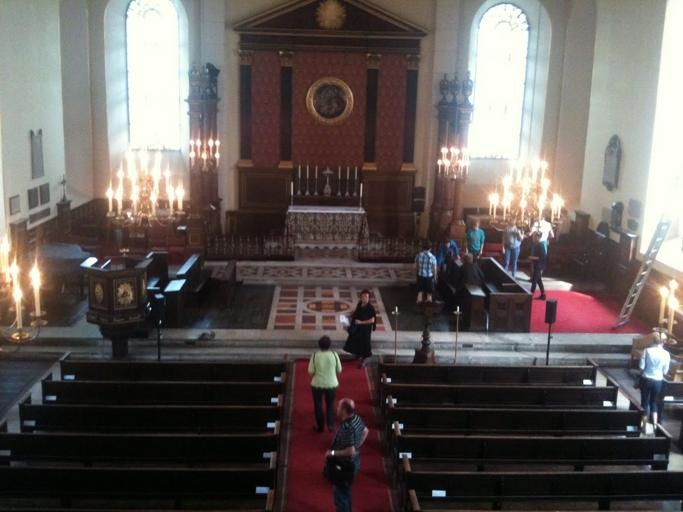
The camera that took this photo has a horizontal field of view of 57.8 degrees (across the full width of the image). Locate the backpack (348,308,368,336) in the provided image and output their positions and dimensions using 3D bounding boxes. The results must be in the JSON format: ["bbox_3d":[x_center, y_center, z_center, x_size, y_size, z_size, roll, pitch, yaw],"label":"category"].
[{"bbox_3d":[0.283,1.404,13.251,0.384,0.555,0.188,7,9,-8],"label":"backpack"}]

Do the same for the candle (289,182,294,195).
[{"bbox_3d":[-1.837,-2.444,22.370,0.119,0.473,0.346,2,11,4],"label":"candle"}]

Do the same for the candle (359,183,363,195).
[{"bbox_3d":[0.644,-2.396,22.414,0.123,0.522,0.296,3,11,13],"label":"candle"}]

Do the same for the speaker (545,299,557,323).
[{"bbox_3d":[4.500,1.209,13.467,0.209,0.672,0.802,4,11,17],"label":"speaker"}]

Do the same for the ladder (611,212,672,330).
[{"bbox_3d":[7.644,0.353,15.900,1.603,2.815,0.773,-5,12,-27],"label":"ladder"}]

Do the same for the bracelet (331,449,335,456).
[{"bbox_3d":[-0.146,2.767,8.716,0.074,0.018,0.073,0,54,13],"label":"bracelet"}]

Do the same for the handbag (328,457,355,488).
[{"bbox_3d":[-0.036,2.971,8.715,0.374,0.384,0.379,-2,2,-23],"label":"handbag"}]
